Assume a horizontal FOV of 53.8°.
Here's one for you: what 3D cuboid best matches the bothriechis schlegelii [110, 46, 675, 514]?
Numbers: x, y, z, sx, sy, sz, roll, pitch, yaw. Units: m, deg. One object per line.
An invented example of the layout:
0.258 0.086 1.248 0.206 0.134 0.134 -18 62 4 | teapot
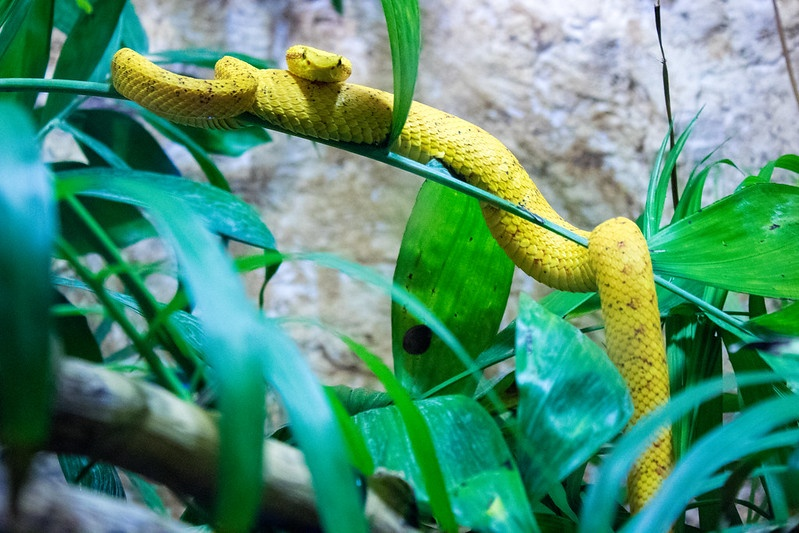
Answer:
0.072 -0.173 1.764 1.364 0.264 0.804 45 29 21 | bothriechis schlegelii
